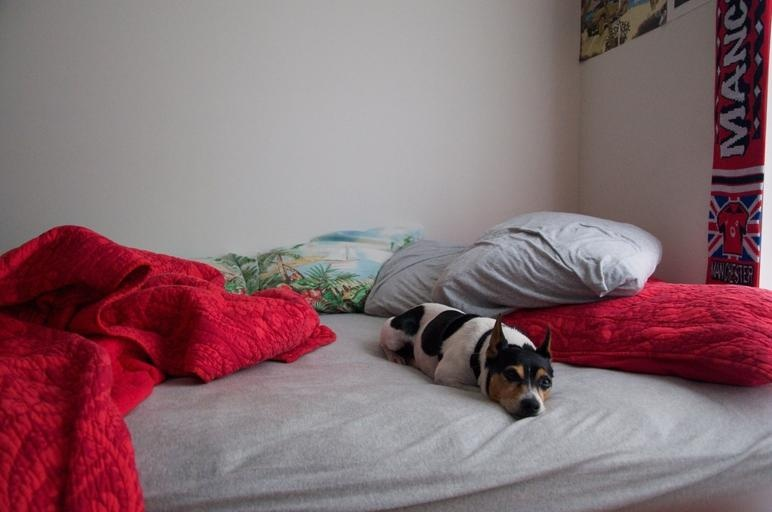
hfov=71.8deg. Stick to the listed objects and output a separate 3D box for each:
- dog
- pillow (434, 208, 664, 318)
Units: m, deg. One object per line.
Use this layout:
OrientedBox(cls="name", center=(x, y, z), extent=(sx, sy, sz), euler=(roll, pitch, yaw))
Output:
OrientedBox(cls="dog", center=(0.298, 0.353, 1.970), extent=(0.309, 0.234, 0.579), euler=(9, 2, -32))
OrientedBox(cls="pillow", center=(0.647, 0.036, 2.240), extent=(0.606, 0.187, 0.590), euler=(-11, 4, 43))
